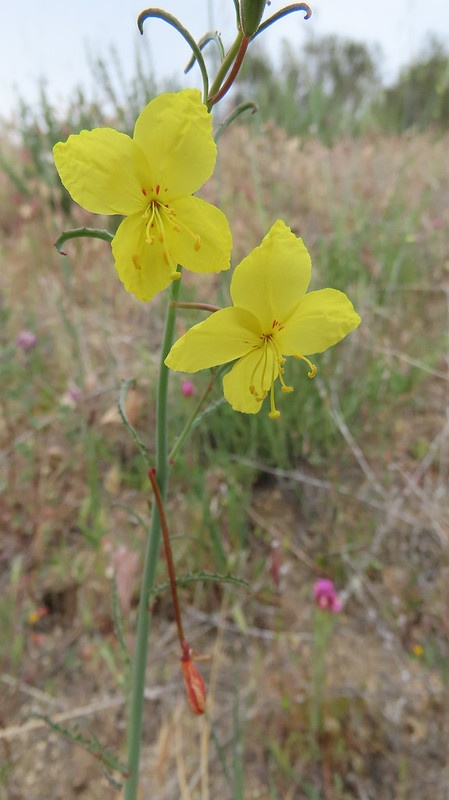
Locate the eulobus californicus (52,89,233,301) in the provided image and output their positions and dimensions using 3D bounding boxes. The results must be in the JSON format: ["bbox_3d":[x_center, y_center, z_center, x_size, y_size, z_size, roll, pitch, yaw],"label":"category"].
[{"bbox_3d":[-0.090,-0.218,0.776,0.103,0.216,0.250,18,50,29],"label":"eulobus californicus"}]

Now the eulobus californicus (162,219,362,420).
[{"bbox_3d":[0.045,-0.071,0.830,0.274,0.267,0.118,-16,54,-15],"label":"eulobus californicus"}]
